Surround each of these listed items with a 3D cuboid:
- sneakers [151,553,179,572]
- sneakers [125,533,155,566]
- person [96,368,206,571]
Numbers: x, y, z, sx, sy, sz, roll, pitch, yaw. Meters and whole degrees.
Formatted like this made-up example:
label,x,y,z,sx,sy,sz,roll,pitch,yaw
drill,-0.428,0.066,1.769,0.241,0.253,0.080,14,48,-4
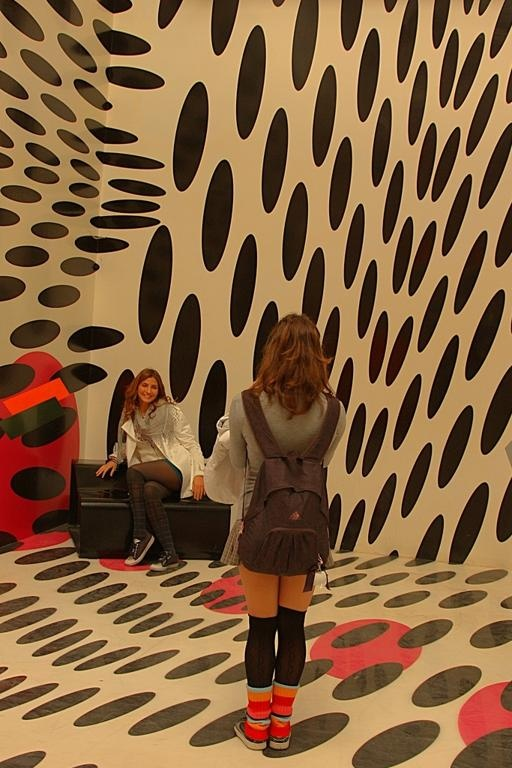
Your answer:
label,x,y,z,sx,sy,sz,roll,pitch,yaw
sneakers,-0.548,1.067,3.132,0.061,0.110,0.199,-1,-16,25
sneakers,-0.723,1.014,3.192,0.159,0.186,0.118,3,-5,-19
person,-0.710,0.535,3.438,0.440,1.342,0.615,-8,-14,3
